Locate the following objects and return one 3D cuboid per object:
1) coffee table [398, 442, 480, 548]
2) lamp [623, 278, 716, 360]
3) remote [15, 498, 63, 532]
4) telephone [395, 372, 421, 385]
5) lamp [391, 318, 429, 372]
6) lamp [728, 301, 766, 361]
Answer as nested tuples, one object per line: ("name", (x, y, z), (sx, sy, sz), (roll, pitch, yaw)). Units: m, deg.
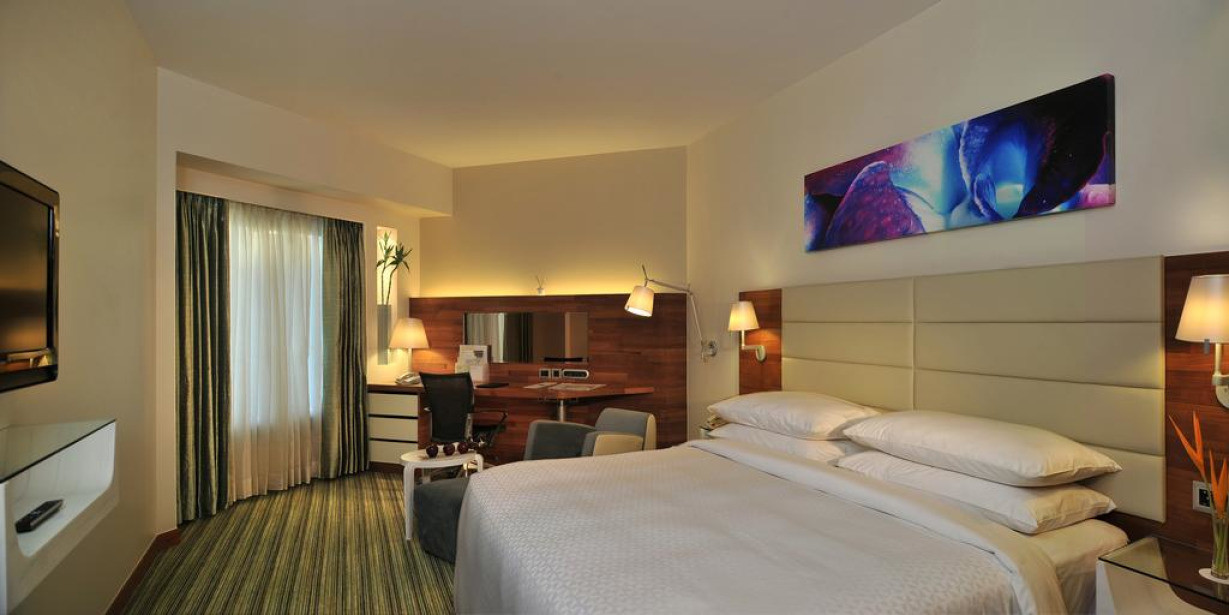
("coffee table", (-1.781, 1.777, 6.912), (0.892, 0.720, 0.910), (3, 2, 43))
("lamp", (0.667, 0.142, 7.705), (1.109, 0.856, 0.243), (12, -12, -14))
("remote", (-3.814, 1.373, 4.605), (0.134, 0.156, 0.271), (0, -2, 8))
("telephone", (-2.480, 0.864, 8.406), (0.279, 0.090, 0.194), (2, 2, 29))
("lamp", (-2.497, 0.463, 8.490), (0.443, 0.635, 0.455), (0, -2, 6))
("lamp", (1.339, 0.227, 6.947), (0.353, 0.616, 0.232), (-1, -2, 31))
